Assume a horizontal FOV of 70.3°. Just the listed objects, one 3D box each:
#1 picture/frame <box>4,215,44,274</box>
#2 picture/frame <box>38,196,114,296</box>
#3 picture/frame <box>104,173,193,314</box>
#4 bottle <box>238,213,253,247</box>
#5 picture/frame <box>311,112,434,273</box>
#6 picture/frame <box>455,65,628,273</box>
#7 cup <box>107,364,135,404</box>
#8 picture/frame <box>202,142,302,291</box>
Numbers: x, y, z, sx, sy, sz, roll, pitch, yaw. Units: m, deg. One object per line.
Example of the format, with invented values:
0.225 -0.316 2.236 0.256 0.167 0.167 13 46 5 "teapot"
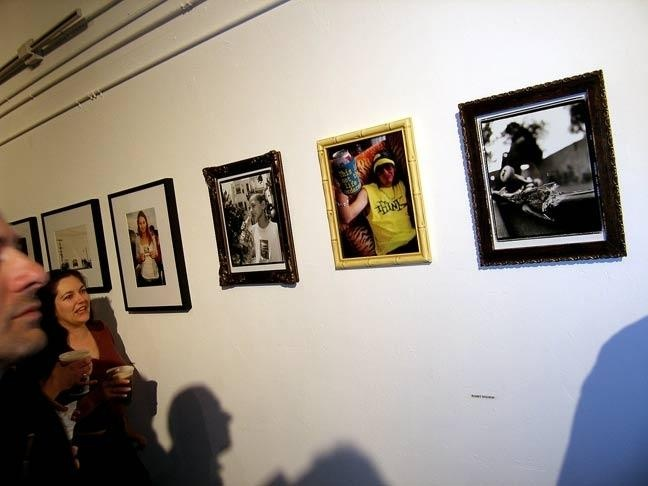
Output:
-1.565 -0.005 2.430 0.306 0.355 0.028 9 16 36 "picture/frame"
-1.642 0.011 3.093 0.596 0.697 0.044 -1 7 34 "picture/frame"
-1.081 -0.024 2.872 0.740 1.130 0.107 -3 8 34 "picture/frame"
-0.423 -0.080 2.496 0.020 0.218 0.145 -3 6 -30 "bottle"
0.248 -0.255 2.158 0.573 0.850 0.059 -9 4 30 "picture/frame"
0.917 -0.322 1.884 0.645 0.936 0.061 -8 2 23 "picture/frame"
-1.218 0.816 2.782 0.128 0.292 0.112 1 29 -6 "cup"
-0.369 -0.161 2.466 0.659 0.900 0.085 -4 5 33 "picture/frame"
